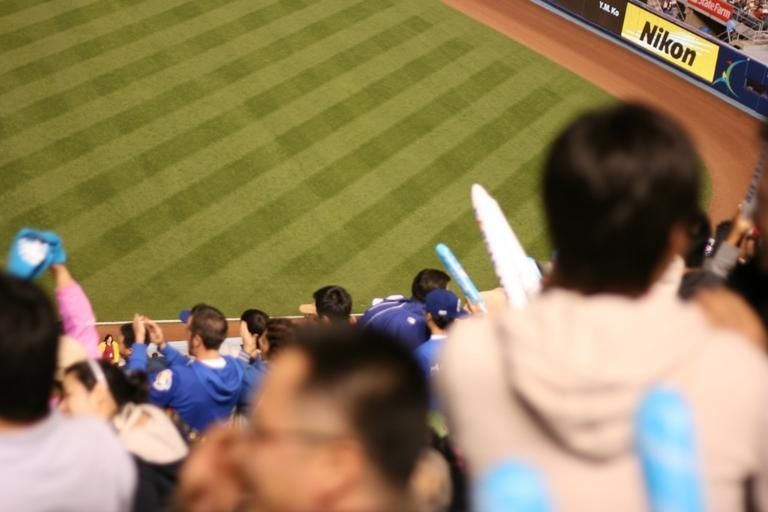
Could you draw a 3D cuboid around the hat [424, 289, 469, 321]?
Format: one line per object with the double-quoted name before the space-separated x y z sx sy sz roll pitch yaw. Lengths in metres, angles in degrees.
"hat" 0.458 0.366 5.640 0.266 0.141 0.177 3 29 -6
